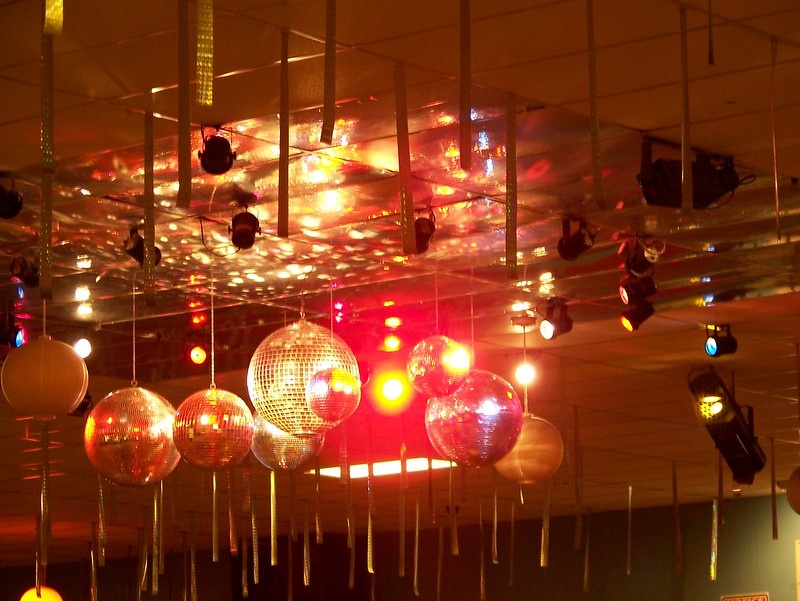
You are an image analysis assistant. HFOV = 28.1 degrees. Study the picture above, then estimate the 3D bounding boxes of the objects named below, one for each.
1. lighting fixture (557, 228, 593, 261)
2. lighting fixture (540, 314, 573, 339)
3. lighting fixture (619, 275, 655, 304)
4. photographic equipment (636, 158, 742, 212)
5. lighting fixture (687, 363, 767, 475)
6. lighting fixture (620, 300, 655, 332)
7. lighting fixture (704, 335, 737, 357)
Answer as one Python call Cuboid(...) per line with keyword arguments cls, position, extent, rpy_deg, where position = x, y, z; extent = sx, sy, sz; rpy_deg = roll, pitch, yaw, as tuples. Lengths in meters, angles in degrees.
Cuboid(cls="lighting fixture", position=(1.361, -0.414, 12.130), extent=(0.271, 0.239, 0.177), rpy_deg=(-3, -13, 12))
Cuboid(cls="lighting fixture", position=(1.326, 0.239, 13.302), extent=(0.186, 0.178, 0.316), rpy_deg=(10, -15, -37))
Cuboid(cls="lighting fixture", position=(1.860, -0.080, 12.449), extent=(0.284, 0.193, 0.193), rpy_deg=(-10, -10, -16))
Cuboid(cls="photographic equipment", position=(2.083, -0.816, 11.253), extent=(0.757, 0.428, 0.304), rpy_deg=(7, -14, -30))
Cuboid(cls="lighting fixture", position=(2.993, 1.146, 14.542), extent=(0.435, 1.002, 0.693), rpy_deg=(-11, -17, 42))
Cuboid(cls="lighting fixture", position=(1.944, 0.123, 12.909), extent=(0.217, 0.126, 0.197), rpy_deg=(-28, -7, -3))
Cuboid(cls="lighting fixture", position=(2.793, 0.411, 13.793), extent=(0.284, 0.240, 0.172), rpy_deg=(3, -5, -14))
